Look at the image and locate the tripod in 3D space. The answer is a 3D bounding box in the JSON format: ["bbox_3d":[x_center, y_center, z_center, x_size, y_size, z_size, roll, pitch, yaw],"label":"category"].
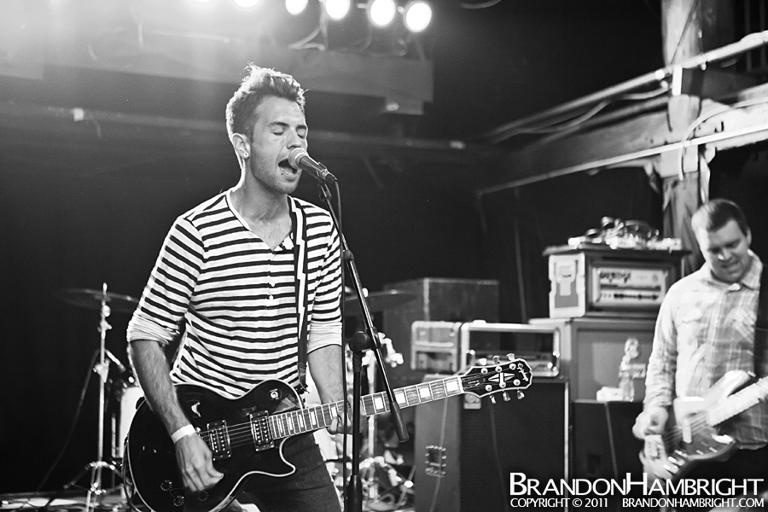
[{"bbox_3d":[-2.317,1.184,6.495,0.401,1.583,0.977,3,-13,-23],"label":"tripod"}]

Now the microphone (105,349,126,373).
[{"bbox_3d":[-2.147,0.852,6.552,0.117,0.148,0.529,-13,-9,-16],"label":"microphone"}]

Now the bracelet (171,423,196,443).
[{"bbox_3d":[-0.986,0.859,4.018,0.091,0.062,0.095,-34,-4,18],"label":"bracelet"}]

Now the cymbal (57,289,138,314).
[{"bbox_3d":[-2.243,0.340,6.370,0.345,0.093,0.366,13,-10,9],"label":"cymbal"}]

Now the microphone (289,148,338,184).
[{"bbox_3d":[-0.363,-0.439,3.928,0.121,0.124,0.393,38,-2,-31],"label":"microphone"}]
